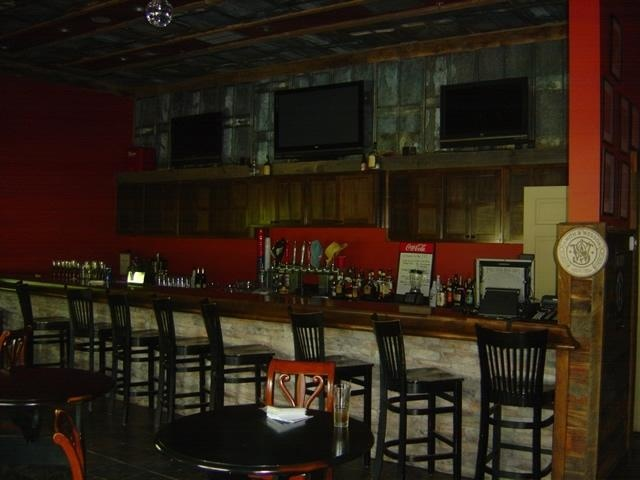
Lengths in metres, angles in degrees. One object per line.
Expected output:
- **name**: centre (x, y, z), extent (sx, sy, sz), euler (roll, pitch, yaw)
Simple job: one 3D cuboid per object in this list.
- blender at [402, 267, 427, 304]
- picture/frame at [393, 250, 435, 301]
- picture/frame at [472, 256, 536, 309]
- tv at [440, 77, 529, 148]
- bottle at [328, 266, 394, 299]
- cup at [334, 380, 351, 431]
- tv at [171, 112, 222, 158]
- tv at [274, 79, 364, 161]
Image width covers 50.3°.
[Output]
- **blender**: centre (1.166, 0.554, 8.333), extent (0.257, 0.388, 0.263), euler (4, 1, 31)
- **picture/frame**: centre (1.190, 0.438, 8.561), extent (0.619, 0.862, 0.091), euler (0, -15, 29)
- **picture/frame**: centre (1.684, 0.310, 6.271), extent (0.582, 0.519, 0.399), euler (1, 1, 23)
- **tv**: centre (2.047, -1.551, 8.362), extent (0.880, 0.673, 0.123), euler (0, -4, 26)
- **bottle**: centre (0.519, 0.570, 8.884), extent (0.759, 0.407, 0.370), euler (1, 3, -3)
- **cup**: centre (0.141, 1.115, 4.635), extent (0.109, 0.278, 0.193), euler (-1, 1, 1)
- **tv**: centre (-1.852, -1.578, 10.357), extent (0.716, 0.532, 0.100), euler (1, -1, 34)
- **tv**: centre (0.017, -1.594, 9.199), extent (1.130, 0.823, 0.156), euler (2, 5, 30)
